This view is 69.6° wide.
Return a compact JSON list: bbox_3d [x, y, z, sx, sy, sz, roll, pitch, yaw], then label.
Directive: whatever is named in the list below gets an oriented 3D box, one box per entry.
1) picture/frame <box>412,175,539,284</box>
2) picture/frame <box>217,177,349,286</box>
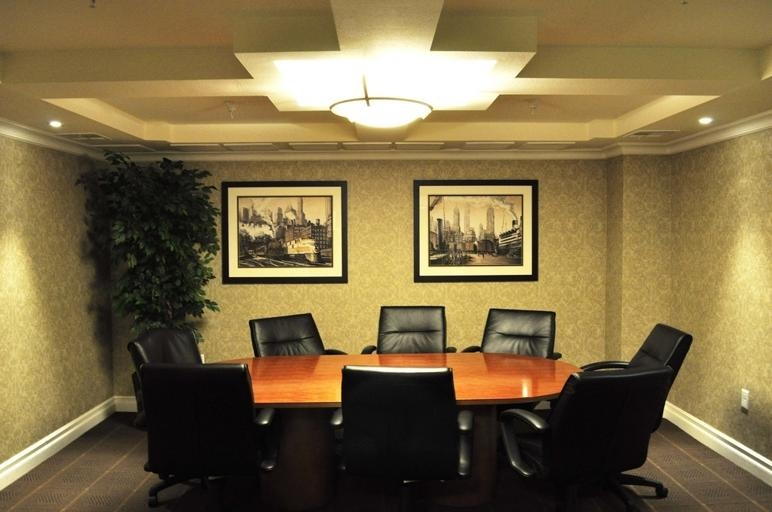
[{"bbox_3d":[1.009,-0.364,6.644,1.527,1.050,0.057,0,0,-2],"label":"picture/frame"},{"bbox_3d":[-1.276,-0.299,6.598,1.507,1.023,0.055,0,-2,-4],"label":"picture/frame"}]
